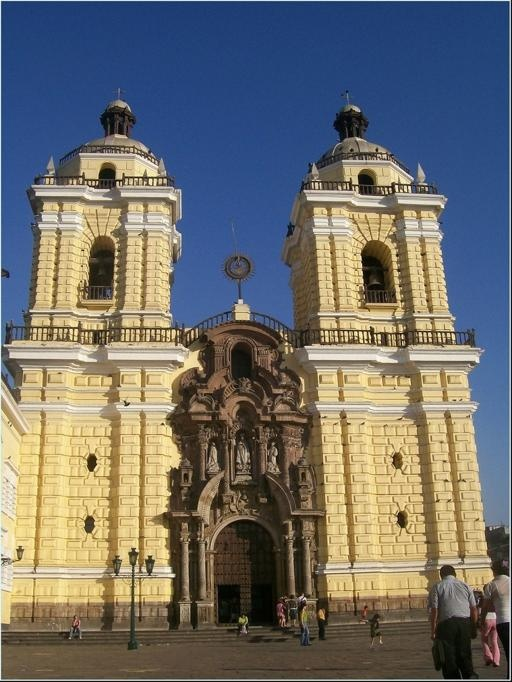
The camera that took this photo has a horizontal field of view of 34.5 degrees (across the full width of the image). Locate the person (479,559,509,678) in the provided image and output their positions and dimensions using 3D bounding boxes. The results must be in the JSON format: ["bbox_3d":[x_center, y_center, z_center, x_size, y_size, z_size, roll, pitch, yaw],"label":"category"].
[{"bbox_3d":[2.845,3.228,9.709,0.311,1.208,0.821,-5,-22,7],"label":"person"}]

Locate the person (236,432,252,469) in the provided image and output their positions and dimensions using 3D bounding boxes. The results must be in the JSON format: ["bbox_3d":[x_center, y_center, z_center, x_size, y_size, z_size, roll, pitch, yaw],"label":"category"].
[{"bbox_3d":[-0.450,3.661,27.255,0.515,1.308,0.173,-1,-22,-2],"label":"person"}]

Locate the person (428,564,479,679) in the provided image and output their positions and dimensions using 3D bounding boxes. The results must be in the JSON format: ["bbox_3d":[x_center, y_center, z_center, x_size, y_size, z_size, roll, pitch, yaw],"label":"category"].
[{"bbox_3d":[2.052,2.903,8.596,0.479,1.149,0.665,-7,-22,12],"label":"person"}]

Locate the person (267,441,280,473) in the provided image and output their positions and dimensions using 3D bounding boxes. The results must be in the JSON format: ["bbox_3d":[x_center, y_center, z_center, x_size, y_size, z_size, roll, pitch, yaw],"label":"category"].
[{"bbox_3d":[0.542,3.810,27.135,0.390,1.132,0.280,-4,-22,4],"label":"person"}]

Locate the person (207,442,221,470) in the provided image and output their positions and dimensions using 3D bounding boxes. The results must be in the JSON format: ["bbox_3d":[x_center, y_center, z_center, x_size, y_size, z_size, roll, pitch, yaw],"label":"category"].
[{"bbox_3d":[-1.410,3.789,26.891,0.449,1.092,0.224,6,-23,-20],"label":"person"}]
